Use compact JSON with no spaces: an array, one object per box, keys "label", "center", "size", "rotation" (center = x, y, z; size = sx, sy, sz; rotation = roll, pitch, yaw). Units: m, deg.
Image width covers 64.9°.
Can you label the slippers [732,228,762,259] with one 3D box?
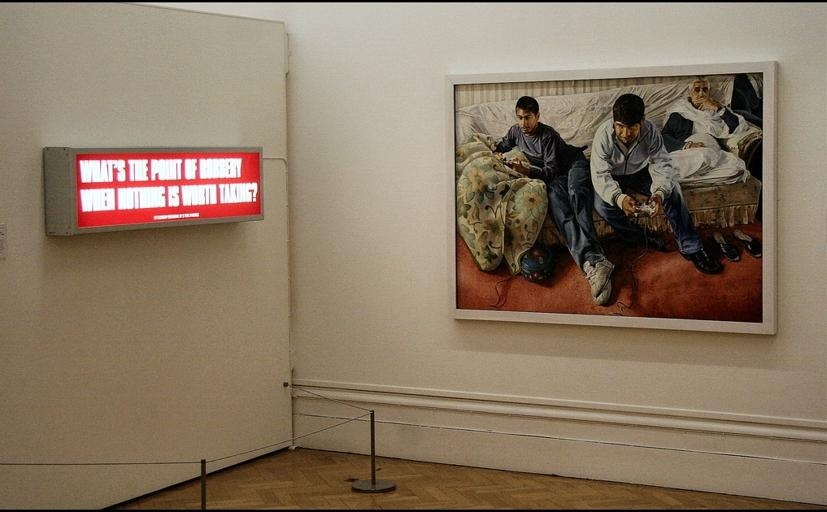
[{"label":"slippers","center":[3.122,-0.119,6.081],"size":[0.311,0.148,0.087],"rotation":[41,12,10]}]

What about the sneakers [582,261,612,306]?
[{"label":"sneakers","center":[1.823,0.245,6.529],"size":[0.256,0.495,0.189],"rotation":[-5,0,-10]}]

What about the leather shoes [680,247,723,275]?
[{"label":"leather shoes","center":[2.740,0.061,6.249],"size":[0.372,0.160,0.162],"rotation":[31,-8,18]}]

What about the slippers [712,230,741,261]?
[{"label":"slippers","center":[2.932,-0.086,6.148],"size":[0.352,0.140,0.093],"rotation":[48,16,0]}]

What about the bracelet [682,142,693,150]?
[{"label":"bracelet","center":[2.593,-1.047,6.177],"size":[0.090,0.041,0.119],"rotation":[0,0,-4]}]
